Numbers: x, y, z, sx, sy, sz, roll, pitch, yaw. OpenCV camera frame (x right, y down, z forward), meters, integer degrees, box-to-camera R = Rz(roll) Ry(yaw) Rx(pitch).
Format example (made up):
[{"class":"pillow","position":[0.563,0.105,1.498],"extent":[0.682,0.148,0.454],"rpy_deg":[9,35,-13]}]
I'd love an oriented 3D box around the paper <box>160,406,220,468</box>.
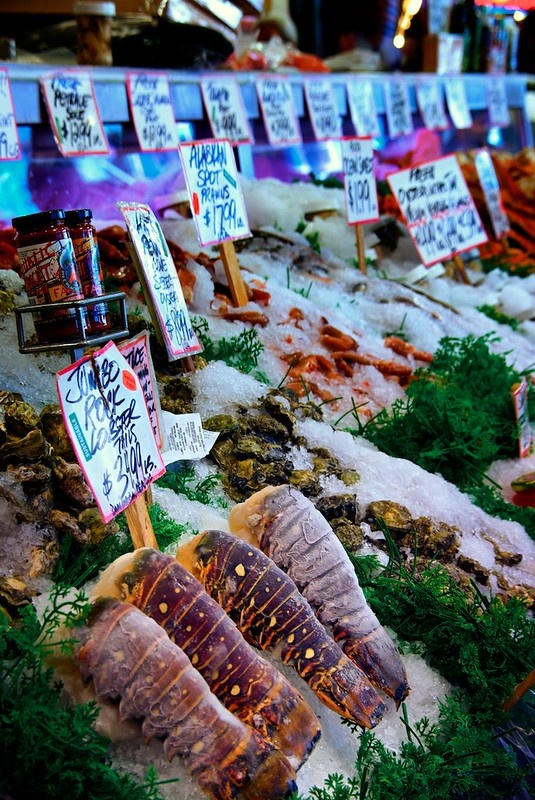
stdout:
[{"class":"paper","position":[-0.219,0.110,1.654],"extent":[0.154,0.118,0.183],"rpy_deg":[-8,17,-4]}]

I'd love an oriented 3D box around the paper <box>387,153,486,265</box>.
[{"class":"paper","position":[0.904,-1.003,3.092],"extent":[0.512,0.502,0.010],"rpy_deg":[-24,6,-24]}]

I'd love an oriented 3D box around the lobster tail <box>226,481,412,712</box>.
[{"class":"lobster tail","position":[0.064,0.402,1.366],"extent":[0.236,0.581,0.159],"rpy_deg":[-23,-19,-51]}]

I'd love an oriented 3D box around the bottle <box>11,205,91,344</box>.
[{"class":"bottle","position":[-0.445,-0.246,1.193],"extent":[0.115,0.255,0.179],"rpy_deg":[-12,18,-15]}]

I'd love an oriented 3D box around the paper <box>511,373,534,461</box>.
[{"class":"paper","position":[1.051,0.082,2.420],"extent":[0.047,0.337,0.252],"rpy_deg":[-3,25,23]}]

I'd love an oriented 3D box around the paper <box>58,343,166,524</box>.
[{"class":"paper","position":[-0.289,0.063,1.140],"extent":[0.026,0.323,0.356],"rpy_deg":[-20,-3,-43]}]

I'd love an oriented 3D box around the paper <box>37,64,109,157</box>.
[{"class":"paper","position":[-0.618,-0.911,1.865],"extent":[0.033,0.250,0.231],"rpy_deg":[3,20,28]}]

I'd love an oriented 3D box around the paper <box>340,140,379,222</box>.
[{"class":"paper","position":[0.481,-1.111,3.002],"extent":[0.095,0.424,0.325],"rpy_deg":[4,21,31]}]

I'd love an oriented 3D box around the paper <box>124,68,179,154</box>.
[{"class":"paper","position":[-0.447,-1.100,2.248],"extent":[0.077,0.273,0.249],"rpy_deg":[8,23,39]}]

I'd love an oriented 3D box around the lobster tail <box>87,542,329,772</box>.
[{"class":"lobster tail","position":[-0.158,0.473,1.127],"extent":[0.135,0.524,0.226],"rpy_deg":[-48,-7,31]}]
